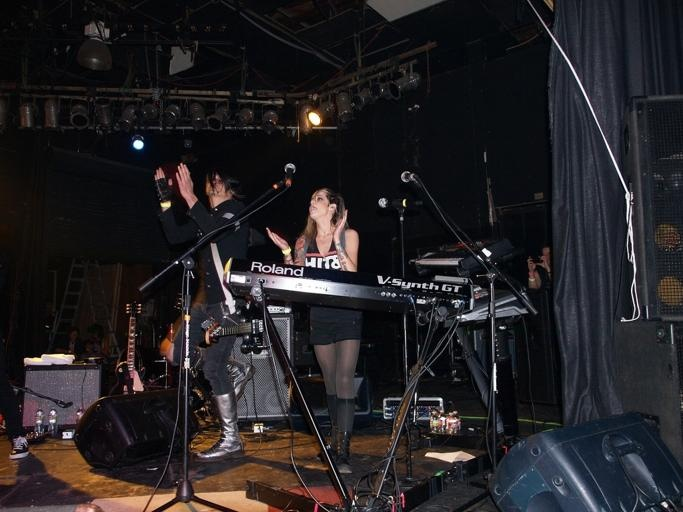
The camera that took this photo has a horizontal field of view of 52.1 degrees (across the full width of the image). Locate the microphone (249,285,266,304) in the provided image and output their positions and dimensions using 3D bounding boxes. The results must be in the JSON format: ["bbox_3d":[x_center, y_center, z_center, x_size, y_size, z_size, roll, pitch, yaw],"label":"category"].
[{"bbox_3d":[-0.566,0.248,4.725,0.093,0.138,0.116,-10,2,40],"label":"microphone"}]

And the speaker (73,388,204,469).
[{"bbox_3d":[-1.743,1.329,5.853,0.599,0.630,0.850,1,-8,33],"label":"speaker"}]

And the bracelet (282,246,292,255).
[{"bbox_3d":[-0.461,-0.053,5.842,0.092,0.091,0.161,2,1,1],"label":"bracelet"}]

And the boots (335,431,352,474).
[{"bbox_3d":[0.017,1.553,5.556,0.129,0.321,0.308,0,-7,0],"label":"boots"}]

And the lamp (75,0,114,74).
[{"bbox_3d":[-2.905,-2.574,8.203,0.376,0.823,0.412,3,-7,-24],"label":"lamp"}]

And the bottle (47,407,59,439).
[{"bbox_3d":[-2.828,1.623,6.825,0.093,0.267,0.070,3,-7,-23],"label":"bottle"}]

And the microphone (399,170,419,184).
[{"bbox_3d":[0.493,-0.596,5.186,0.130,0.132,0.137,8,20,33],"label":"microphone"}]

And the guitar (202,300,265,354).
[{"bbox_3d":[-0.749,0.542,5.257,0.153,0.371,0.649,1,-10,-42],"label":"guitar"}]
